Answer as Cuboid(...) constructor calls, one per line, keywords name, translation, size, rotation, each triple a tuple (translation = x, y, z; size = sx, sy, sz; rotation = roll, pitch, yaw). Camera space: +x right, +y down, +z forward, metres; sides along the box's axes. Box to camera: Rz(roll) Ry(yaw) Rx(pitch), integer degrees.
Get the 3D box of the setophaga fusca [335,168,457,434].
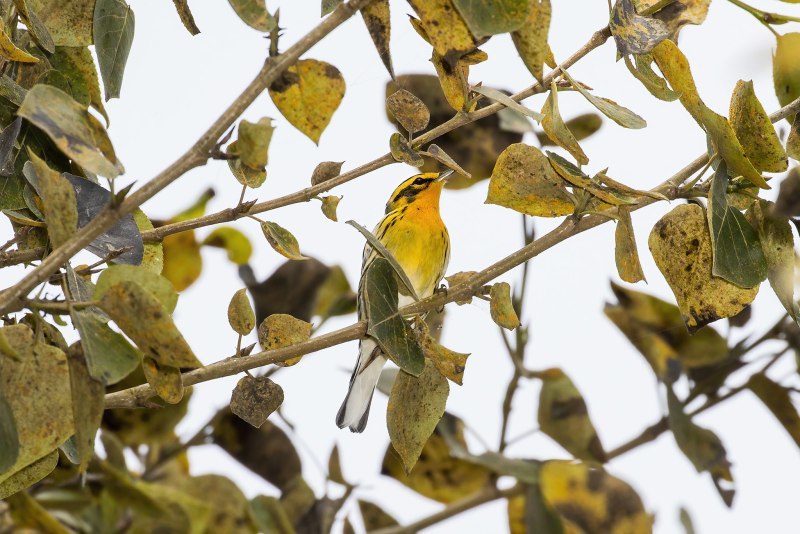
Cuboid(name="setophaga fusca", translation=(-0.013, 0.035, 3.323), size=(0.240, 0.357, 0.860), rotation=(20, -93, -28))
